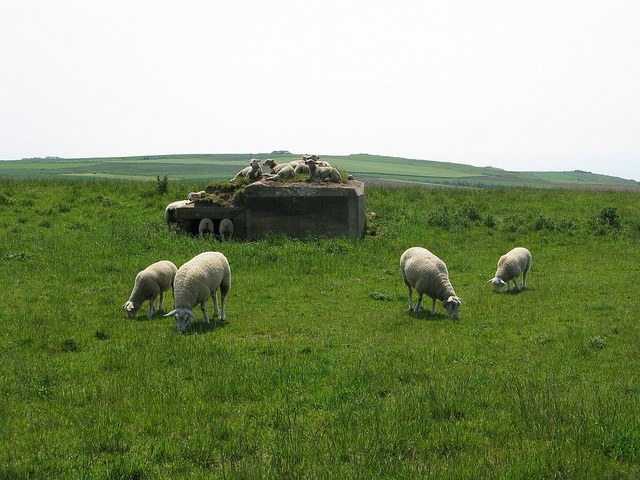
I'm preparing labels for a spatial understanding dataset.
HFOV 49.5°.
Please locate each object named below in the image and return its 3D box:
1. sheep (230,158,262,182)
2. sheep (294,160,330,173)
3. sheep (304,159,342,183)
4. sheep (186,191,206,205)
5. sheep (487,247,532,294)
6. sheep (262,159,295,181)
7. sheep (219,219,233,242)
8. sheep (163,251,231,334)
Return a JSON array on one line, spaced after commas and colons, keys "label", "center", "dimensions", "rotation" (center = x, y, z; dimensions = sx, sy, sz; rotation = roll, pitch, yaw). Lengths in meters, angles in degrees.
[{"label": "sheep", "center": [-3.348, -3.353, 33.484], "dimensions": [0.754, 1.017, 1.901], "rotation": [0, -4, -29]}, {"label": "sheep", "center": [-0.428, -3.567, 33.507], "dimensions": [1.403, 0.884, 0.774], "rotation": [-2, 20, -2]}, {"label": "sheep", "center": [0.187, -3.232, 32.448], "dimensions": [1.759, 1.020, 0.733], "rotation": [8, 8, 18]}, {"label": "sheep", "center": [-5.717, -1.948, 31.727], "dimensions": [1.037, 0.615, 0.430], "rotation": [-9, 0, -1]}, {"label": "sheep", "center": [6.937, 1.015, 24.665], "dimensions": [2.095, 1.558, 0.817], "rotation": [-30, 16, -37]}, {"label": "sheep", "center": [-2.001, -3.356, 33.234], "dimensions": [0.806, 0.848, 1.914], "rotation": [-2, 15, -30]}, {"label": "sheep", "center": [-4.117, -0.474, 30.894], "dimensions": [0.644, 0.929, 0.364], "rotation": [0, 4, -7]}, {"label": "sheep", "center": [-3.546, 1.579, 20.837], "dimensions": [1.113, 2.188, 2.941], "rotation": [3, 16, 20]}]
